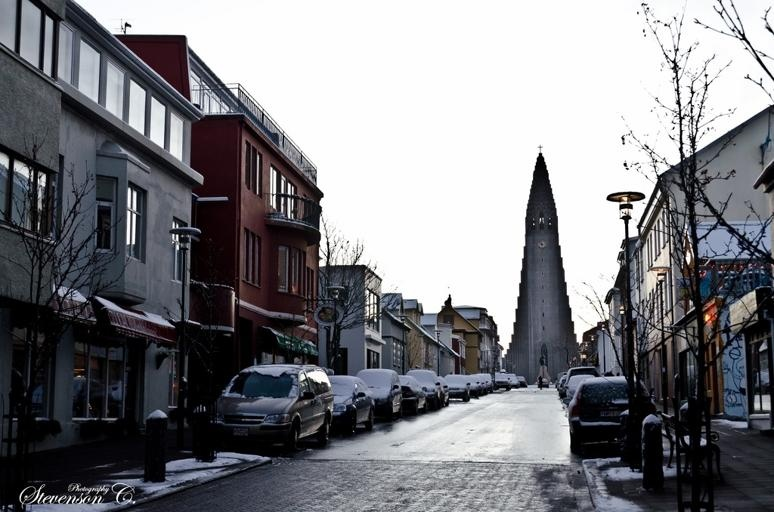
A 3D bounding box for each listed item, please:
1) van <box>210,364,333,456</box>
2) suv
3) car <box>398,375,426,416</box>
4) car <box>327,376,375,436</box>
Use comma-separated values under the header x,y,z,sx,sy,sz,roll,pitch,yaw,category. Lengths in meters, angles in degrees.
x,y,z,sx,sy,sz,roll,pitch,yaw,category
-3.139,4.446,26.529,2.394,2.841,4.964,-11,-20,28,van
5.869,4.417,24.732,1.391,1.442,2.667,-2,-1,8,suv
1.289,6.999,45.496,1.167,2.355,3.273,-2,-18,2,car
-1.325,5.270,32.152,1.207,2.336,3.638,-3,-18,4,car
